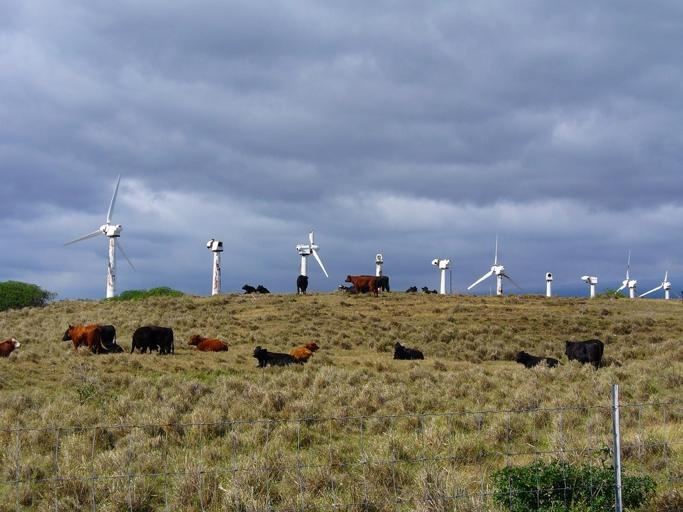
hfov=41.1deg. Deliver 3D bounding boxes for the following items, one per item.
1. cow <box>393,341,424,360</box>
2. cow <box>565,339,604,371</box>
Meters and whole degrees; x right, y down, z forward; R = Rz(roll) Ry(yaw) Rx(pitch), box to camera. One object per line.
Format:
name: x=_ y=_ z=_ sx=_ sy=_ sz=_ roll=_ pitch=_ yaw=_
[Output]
cow: x=3.004 y=4.488 z=42.825 sx=1.556 sy=0.818 sz=0.639 roll=11 pitch=-6 yaw=-3
cow: x=10.276 y=4.021 z=38.233 sx=1.063 sy=1.179 sz=2.198 roll=-1 pitch=0 yaw=-5
